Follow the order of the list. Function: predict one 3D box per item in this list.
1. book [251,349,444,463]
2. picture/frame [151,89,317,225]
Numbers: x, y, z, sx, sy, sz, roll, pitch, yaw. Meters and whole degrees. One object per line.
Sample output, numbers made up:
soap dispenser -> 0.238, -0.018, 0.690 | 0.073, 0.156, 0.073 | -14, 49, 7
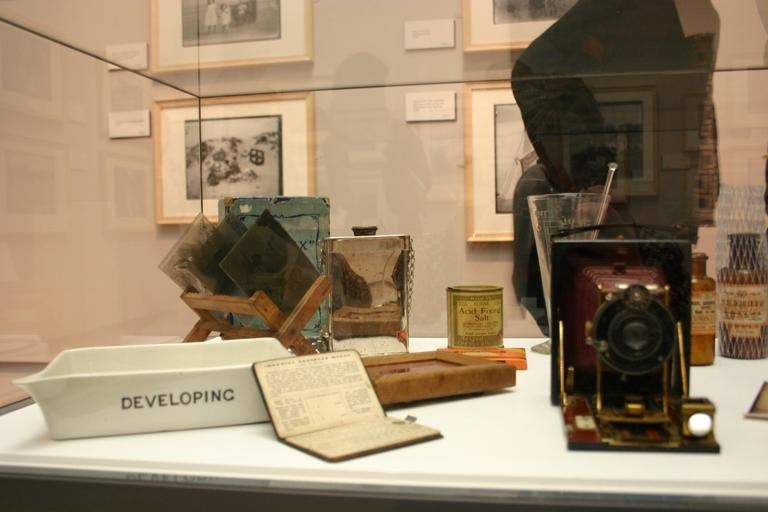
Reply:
book -> -0.077, 0.204, 1.179 | 0.169, 0.090, 0.211 | -7, 5, -33
picture/frame -> -0.344, -0.242, 1.762 | 0.327, 0.253, 0.018 | -1, 3, 9
